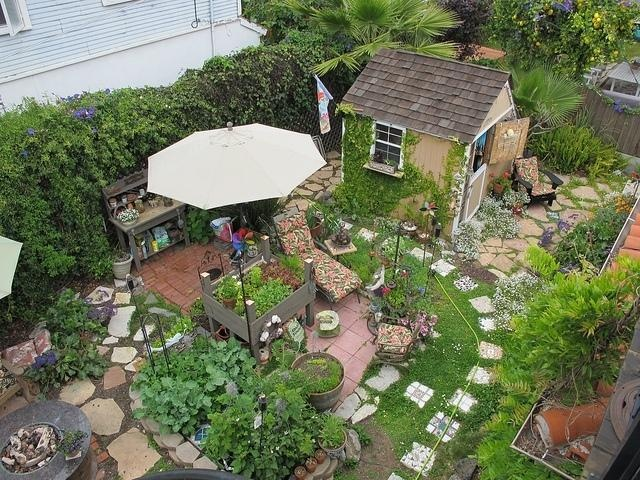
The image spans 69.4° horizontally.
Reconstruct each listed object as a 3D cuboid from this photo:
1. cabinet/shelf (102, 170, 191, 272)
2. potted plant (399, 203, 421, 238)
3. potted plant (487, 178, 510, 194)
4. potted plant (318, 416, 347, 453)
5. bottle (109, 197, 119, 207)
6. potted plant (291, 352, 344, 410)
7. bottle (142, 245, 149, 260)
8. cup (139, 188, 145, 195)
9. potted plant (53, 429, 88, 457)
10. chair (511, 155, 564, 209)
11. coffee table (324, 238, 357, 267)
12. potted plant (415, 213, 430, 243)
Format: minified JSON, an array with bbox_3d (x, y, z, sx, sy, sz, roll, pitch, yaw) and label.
[{"bbox_3d":[-3.829,-0.449,9.996,0.691,1.650,1.340,28,51,27],"label":"cabinet/shelf"},{"bbox_3d":[2.219,-0.485,11.185,0.567,0.936,0.653,0,30,1],"label":"potted plant"},{"bbox_3d":[4.631,-1.363,11.919,0.406,0.321,0.408,-26,49,-36],"label":"potted plant"},{"bbox_3d":[0.214,2.951,7.138,0.455,0.450,0.516,3,39,1],"label":"potted plant"},{"bbox_3d":[-4.437,-0.817,9.977,0.157,0.146,0.152,28,46,22],"label":"bottle"},{"bbox_3d":[0.021,2.269,7.744,0.773,0.613,0.844,-23,46,-27],"label":"potted plant"},{"bbox_3d":[-3.930,0.239,10.396,0.069,0.246,0.180,-8,15,2],"label":"bottle"},{"bbox_3d":[-3.943,-1.080,10.268,0.103,0.108,0.106,2,23,-1],"label":"cup"},{"bbox_3d":[-3.515,2.847,6.546,0.291,0.204,0.328,-5,13,9],"label":"potted plant"},{"bbox_3d":[5.794,-1.589,12.220,1.470,0.921,1.214,-8,41,-12],"label":"chair"},{"bbox_3d":[0.457,0.264,10.036,0.478,0.549,0.537,-5,38,-7],"label":"coffee table"},{"bbox_3d":[2.503,-0.304,11.120,0.343,0.704,0.349,-26,41,-33],"label":"potted plant"}]
